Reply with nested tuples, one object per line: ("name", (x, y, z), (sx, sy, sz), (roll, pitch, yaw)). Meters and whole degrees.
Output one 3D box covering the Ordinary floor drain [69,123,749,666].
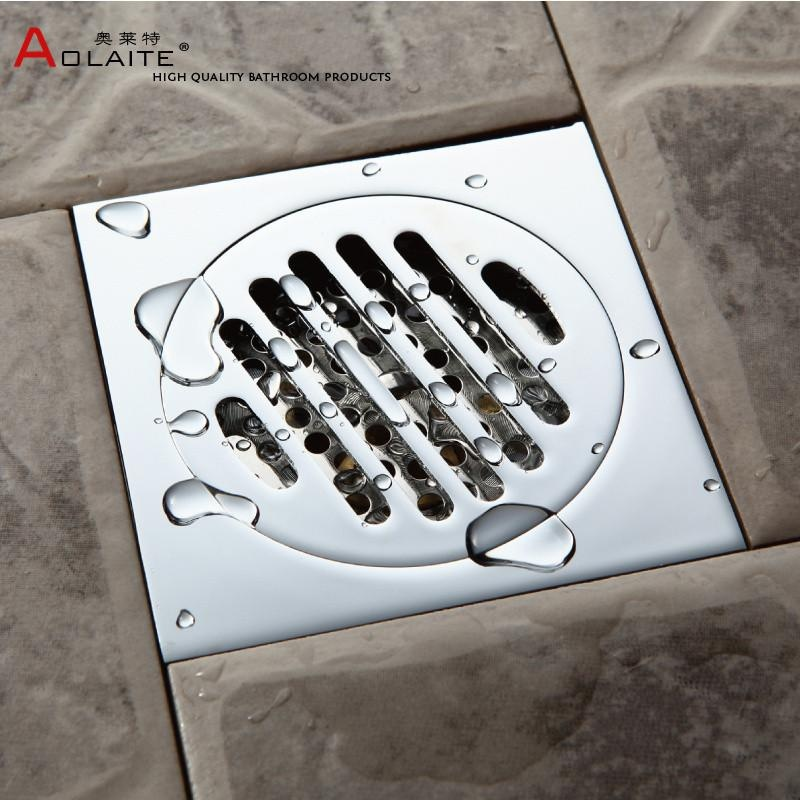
("Ordinary floor drain", (-0.004, -0.021, 0.566), (0.342, 0.090, 0.302), (-13, 84, 1))
